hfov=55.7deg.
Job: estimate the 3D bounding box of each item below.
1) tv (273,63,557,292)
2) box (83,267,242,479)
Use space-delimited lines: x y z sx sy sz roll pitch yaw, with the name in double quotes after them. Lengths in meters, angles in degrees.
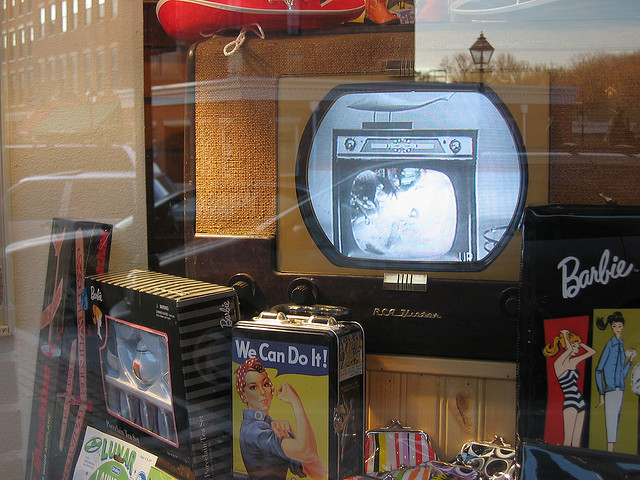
0.268 -0.166 1.531 0.554 0.495 0.223 1 2 13 "tv"
-0.401 0.352 1.546 0.471 0.482 0.206 3 9 25 "box"
